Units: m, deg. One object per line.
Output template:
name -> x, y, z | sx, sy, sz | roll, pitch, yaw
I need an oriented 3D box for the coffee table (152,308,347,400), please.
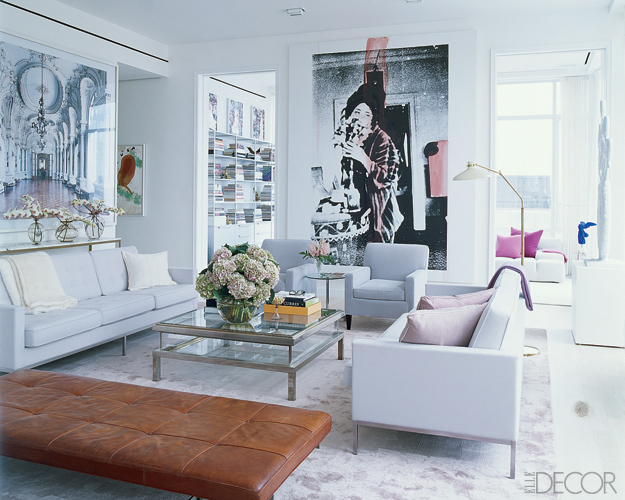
coffee table -> -0.600, 0.988, 3.950 | 1.625, 0.442, 1.635 | 13, -14, -31

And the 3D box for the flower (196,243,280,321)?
flower -> -0.578, 0.209, 3.858 | 0.666, 0.624, 0.668 | 2, 5, 17

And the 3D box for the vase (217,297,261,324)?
vase -> -0.629, 0.479, 3.737 | 0.254, 0.145, 0.252 | 2, -1, -36

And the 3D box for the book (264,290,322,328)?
book -> -0.180, 0.513, 3.963 | 0.297, 0.138, 0.315 | 0, 1, 39

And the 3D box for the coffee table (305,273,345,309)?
coffee table -> 0.192, 0.576, 5.602 | 0.468, 0.455, 0.466 | 3, -5, -40

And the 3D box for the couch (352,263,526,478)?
couch -> 0.835, 0.689, 2.797 | 0.888, 0.914, 1.101 | 2, 6, 25

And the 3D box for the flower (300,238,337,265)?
flower -> 0.138, 0.017, 5.541 | 0.341, 0.400, 0.403 | -4, 1, -30

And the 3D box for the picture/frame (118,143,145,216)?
picture/frame -> -3.183, -1.175, 7.603 | 0.043, 1.243, 0.631 | 8, 11, 22

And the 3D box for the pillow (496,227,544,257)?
pillow -> 3.913, -0.138, 8.268 | 0.599, 0.395, 0.213 | 0, 5, 21

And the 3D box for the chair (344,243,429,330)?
chair -> 0.911, 0.393, 5.307 | 0.915, 0.903, 0.994 | 1, 4, 15
